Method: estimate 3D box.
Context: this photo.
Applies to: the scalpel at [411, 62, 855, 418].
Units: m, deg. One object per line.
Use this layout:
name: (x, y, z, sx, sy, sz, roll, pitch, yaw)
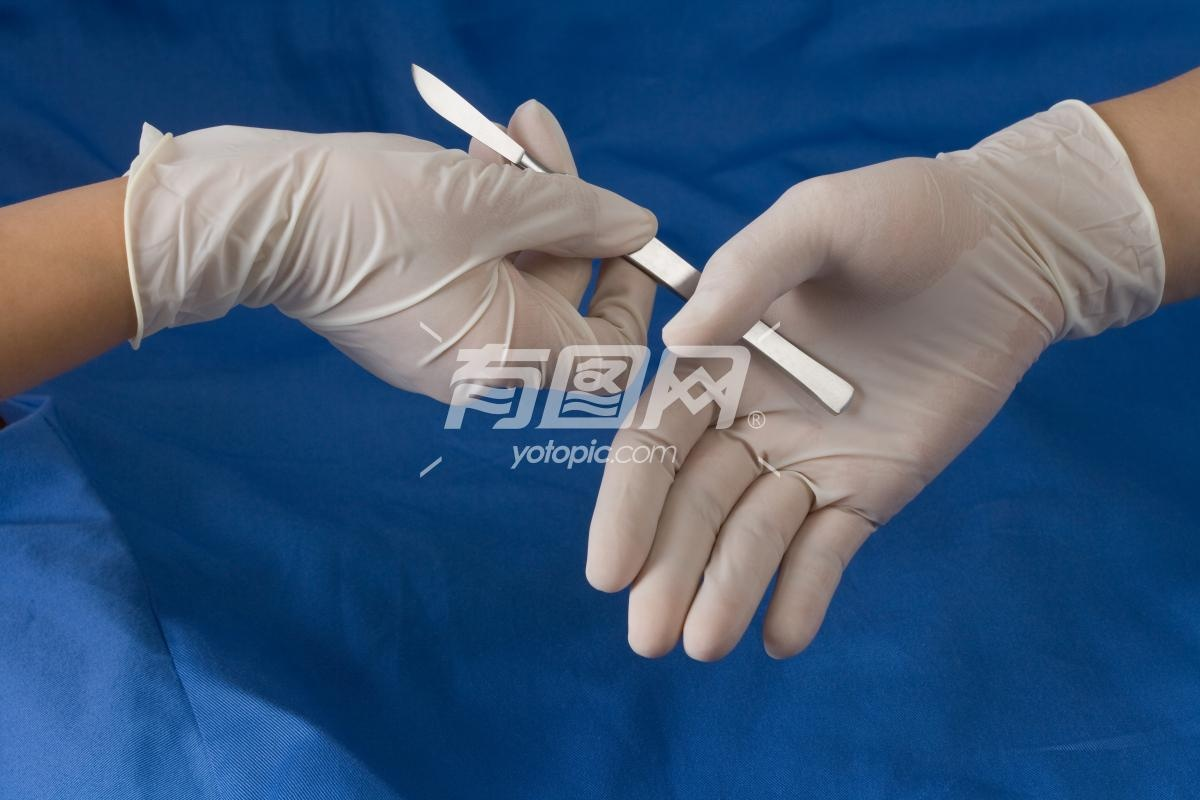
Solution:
scalpel: (0.090, -0.342, 3.179, 1.239, 0.138, 0.062, 41, 21, 2)
